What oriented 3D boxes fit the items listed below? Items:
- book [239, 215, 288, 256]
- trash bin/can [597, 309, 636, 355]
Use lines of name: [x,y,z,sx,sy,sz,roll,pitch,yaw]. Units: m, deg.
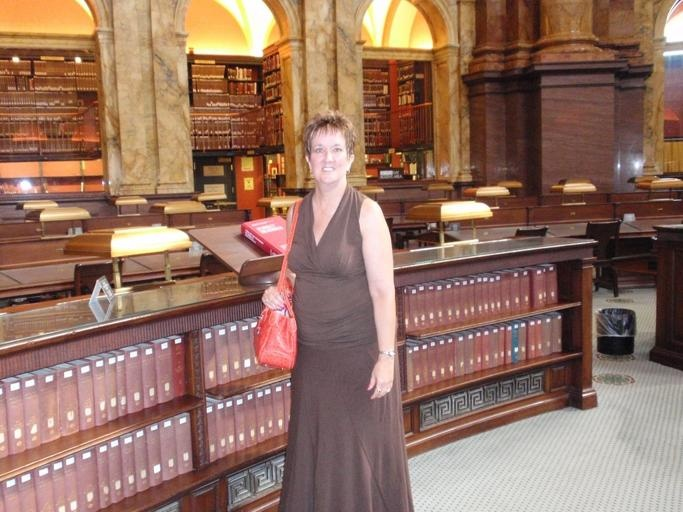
book: [-0.385,-0.108,2.853,0.217,0.053,0.212,-15,38,-34]
trash bin/can: [2.395,0.697,4.801,0.362,0.398,0.360,4,-5,-32]
